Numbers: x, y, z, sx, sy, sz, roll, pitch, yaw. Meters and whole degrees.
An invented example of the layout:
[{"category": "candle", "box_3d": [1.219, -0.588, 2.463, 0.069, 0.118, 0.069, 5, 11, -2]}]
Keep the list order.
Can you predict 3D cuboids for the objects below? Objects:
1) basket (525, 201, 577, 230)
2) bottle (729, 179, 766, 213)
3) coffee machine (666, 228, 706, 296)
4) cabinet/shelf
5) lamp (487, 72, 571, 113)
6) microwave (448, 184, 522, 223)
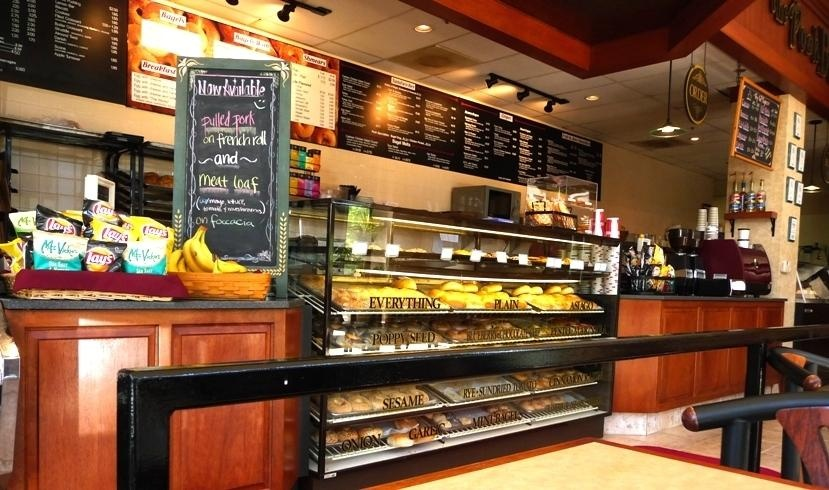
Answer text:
[{"category": "basket", "box_3d": [1.182, -0.264, 4.978, 0.332, 0.125, 0.308, 1, 1, -32]}, {"category": "bottle", "box_3d": [3.897, -0.561, 6.740, 0.436, 0.496, 0.165, -5, -20, 39]}, {"category": "coffee machine", "box_3d": [2.893, 0.165, 6.166, 0.392, 0.724, 0.769, -6, -7, 25]}, {"category": "cabinet/shelf", "box_3d": [0.211, 0.627, 3.867, 2.545, 1.339, 0.758, 0, 4, -30]}, {"category": "lamp", "box_3d": [1.368, -1.857, 7.247, 1.507, 0.297, 0.352, 2, -7, -36]}, {"category": "microwave", "box_3d": [0.945, -0.528, 7.701, 0.596, 0.359, 0.849, 4, 0, 42]}]
